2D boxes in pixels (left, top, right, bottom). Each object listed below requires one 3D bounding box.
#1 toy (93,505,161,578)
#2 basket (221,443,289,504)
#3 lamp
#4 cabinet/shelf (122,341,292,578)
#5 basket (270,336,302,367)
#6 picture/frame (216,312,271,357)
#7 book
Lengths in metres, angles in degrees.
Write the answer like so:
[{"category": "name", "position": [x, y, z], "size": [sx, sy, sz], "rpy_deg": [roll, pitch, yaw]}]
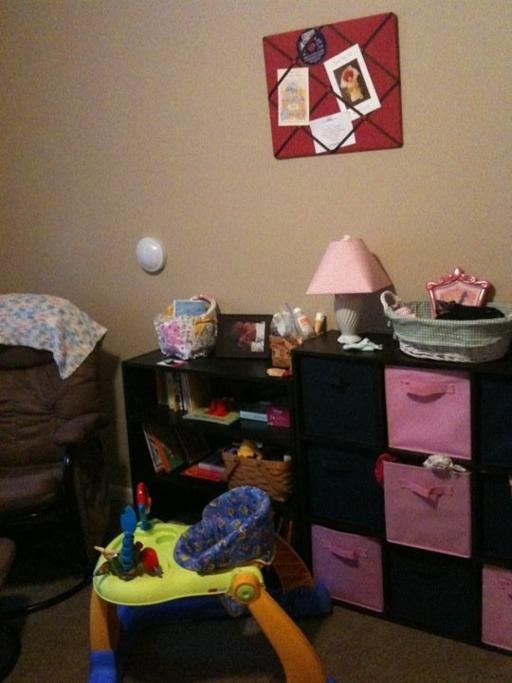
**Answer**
[{"category": "toy", "position": [-0.316, 0.533, 1.470], "size": [0.194, 0.186, 0.181], "rpy_deg": [1, 8, -6]}, {"category": "basket", "position": [-0.003, 0.460, 1.955], "size": [0.227, 0.123, 0.167], "rpy_deg": [1, 0, 27]}, {"category": "lamp", "position": [0.345, -0.211, 1.861], "size": [0.320, 0.440, 0.322], "rpy_deg": [4, 14, 20]}, {"category": "cabinet/shelf", "position": [-0.156, 0.372, 1.878], "size": [0.777, 0.876, 0.297], "rpy_deg": [2, 7, 18]}, {"category": "basket", "position": [0.100, 0.013, 1.864], "size": [0.137, 0.099, 0.095], "rpy_deg": [1, 4, 12]}, {"category": "picture/frame", "position": [-0.042, -0.021, 2.075], "size": [0.160, 0.130, 0.021], "rpy_deg": [2, -1, 19]}, {"category": "book", "position": [-0.126, 0.324, 2.040], "size": [0.564, 0.480, 0.203], "rpy_deg": [4, 6, 20]}]
